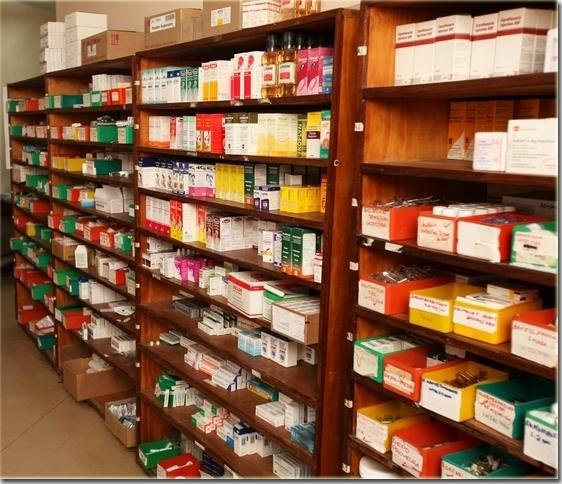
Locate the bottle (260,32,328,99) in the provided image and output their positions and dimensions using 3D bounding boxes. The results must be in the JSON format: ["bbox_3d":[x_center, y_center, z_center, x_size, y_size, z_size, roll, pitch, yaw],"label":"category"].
[{"bbox_3d":[0.073,-0.825,2.198,0.124,0.328,0.374,-9,15,-41],"label":"bottle"}]
